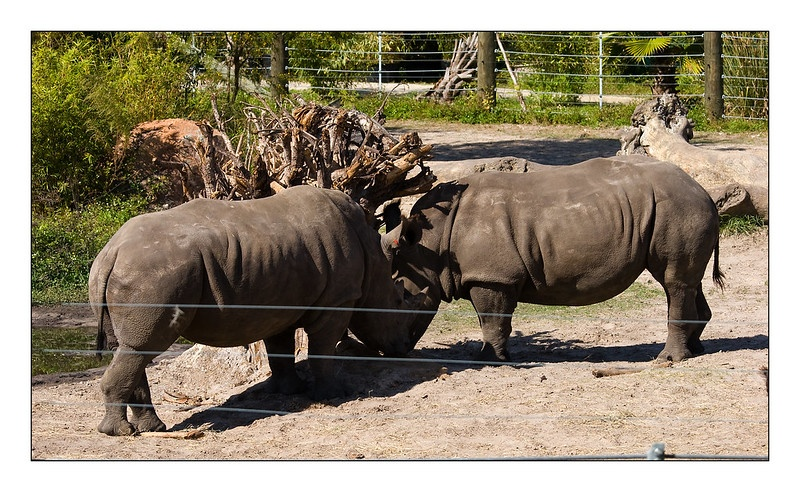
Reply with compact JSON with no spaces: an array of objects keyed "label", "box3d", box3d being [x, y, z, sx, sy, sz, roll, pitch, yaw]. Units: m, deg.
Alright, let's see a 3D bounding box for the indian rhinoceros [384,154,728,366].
[{"label":"indian rhinoceros","box3d":[1.883,0.230,15.555,5.165,2.531,1.771,-1,13,9]}]
